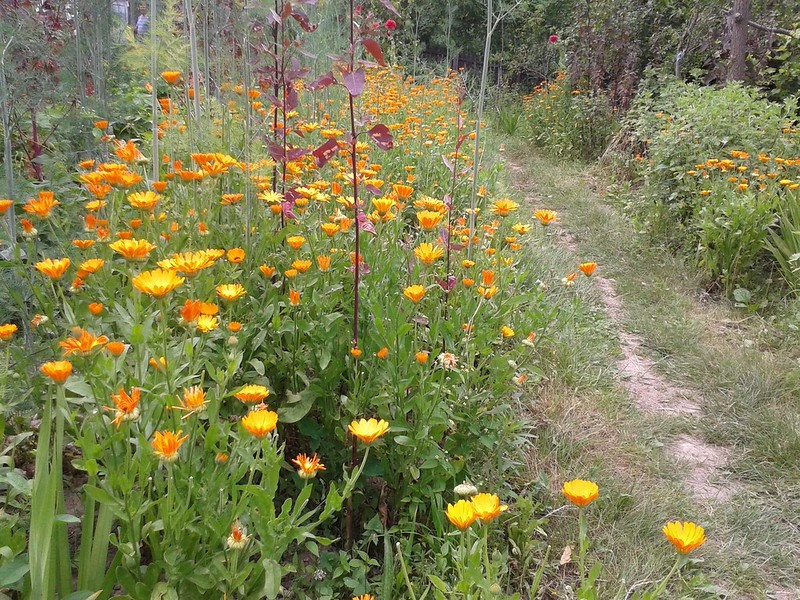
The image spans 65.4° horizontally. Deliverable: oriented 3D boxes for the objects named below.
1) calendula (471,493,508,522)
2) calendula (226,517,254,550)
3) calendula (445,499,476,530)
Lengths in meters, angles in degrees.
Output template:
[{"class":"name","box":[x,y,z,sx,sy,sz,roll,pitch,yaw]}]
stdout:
[{"class":"calendula","box":[0.244,0.577,1.793,0.097,0.058,0.104,3,5,-8]},{"class":"calendula","box":[-0.456,0.650,1.750,0.053,0.077,0.097,2,21,-16]},{"class":"calendula","box":[0.172,0.591,1.774,0.091,0.052,0.098,0,-11,-7]}]
